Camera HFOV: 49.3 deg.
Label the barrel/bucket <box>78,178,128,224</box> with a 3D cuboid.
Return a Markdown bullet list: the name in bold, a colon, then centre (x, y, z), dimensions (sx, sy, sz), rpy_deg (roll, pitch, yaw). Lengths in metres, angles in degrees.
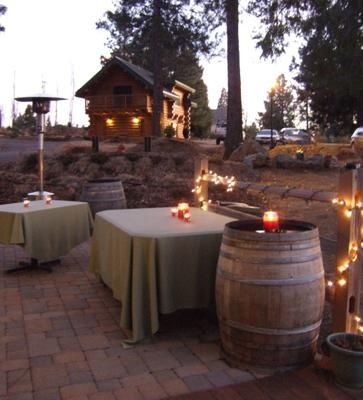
- **barrel/bucket**: centre (-1.492, 0.017, 7.734), dimensions (0.600, 0.804, 0.691), rpy_deg (-1, -2, -15)

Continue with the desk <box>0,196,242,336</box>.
- **desk**: centre (-0.472, 0.539, 4.437), dimensions (1.283, 0.882, 2.142), rpy_deg (-1, 6, -23)

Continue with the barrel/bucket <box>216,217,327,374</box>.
- **barrel/bucket**: centre (0.626, 0.646, 3.157), dimensions (0.723, 1.139, 0.916), rpy_deg (0, 4, 2)

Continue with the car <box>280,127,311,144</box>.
- **car**: centre (9.694, -5.418, 33.590), dimensions (2.312, 1.524, 3.693), rpy_deg (0, 5, 14)
